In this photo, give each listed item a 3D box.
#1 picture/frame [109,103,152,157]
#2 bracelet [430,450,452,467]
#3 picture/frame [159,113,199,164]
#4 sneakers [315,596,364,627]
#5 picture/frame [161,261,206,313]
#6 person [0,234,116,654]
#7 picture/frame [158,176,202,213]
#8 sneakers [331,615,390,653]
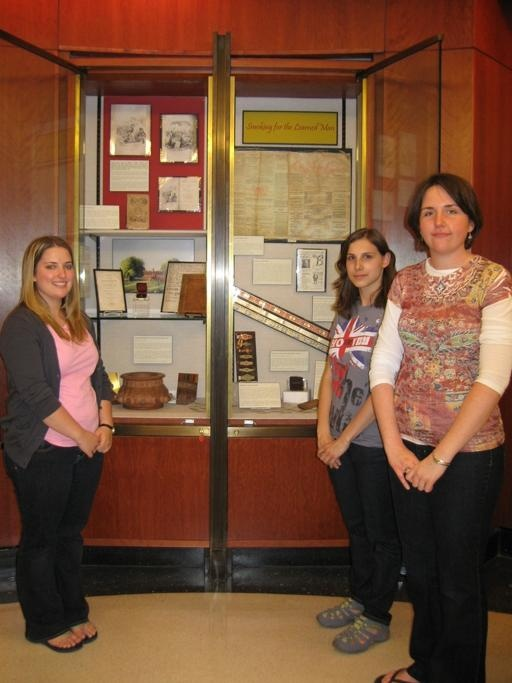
[{"bbox_3d":[-0.682,-1.145,3.402,0.301,0.320,0.013,1,8,2],"label":"picture/frame"},{"bbox_3d":[0.499,0.318,1.740,0.042,0.019,0.045,7,-31,21],"label":"bracelet"},{"bbox_3d":[-0.417,-1.103,3.412,0.270,0.301,0.027,0,10,1],"label":"picture/frame"},{"bbox_3d":[0.326,1.063,2.521,0.231,0.093,0.076,-15,44,12],"label":"sneakers"},{"bbox_3d":[-0.422,-0.279,3.353,0.293,0.260,0.261,2,3,3],"label":"picture/frame"},{"bbox_3d":[-0.715,0.366,2.358,0.312,1.504,0.443,2,4,28],"label":"person"},{"bbox_3d":[-0.418,-0.795,3.436,0.269,0.169,0.058,1,4,3],"label":"picture/frame"},{"bbox_3d":[0.390,1.066,2.357,0.216,0.087,0.095,0,9,-21],"label":"sneakers"}]
